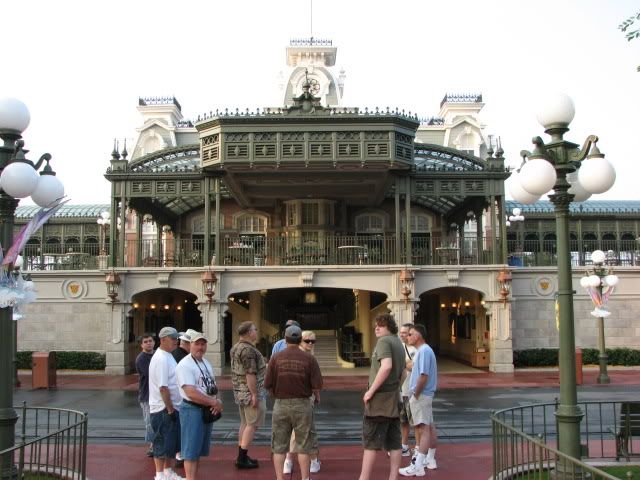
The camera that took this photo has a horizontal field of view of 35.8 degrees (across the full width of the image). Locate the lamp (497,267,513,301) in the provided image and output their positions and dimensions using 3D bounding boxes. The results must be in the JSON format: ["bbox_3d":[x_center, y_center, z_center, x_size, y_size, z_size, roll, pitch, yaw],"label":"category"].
[{"bbox_3d":[7.123,1.728,37.730,0.602,1.132,0.598,-3,-2,32],"label":"lamp"}]

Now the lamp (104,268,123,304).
[{"bbox_3d":[-7.794,1.754,37.549,0.569,1.248,0.468,0,-8,2],"label":"lamp"}]

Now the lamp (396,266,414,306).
[{"bbox_3d":[3.321,1.733,37.208,0.519,1.355,0.308,-1,-8,5],"label":"lamp"}]

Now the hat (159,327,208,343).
[{"bbox_3d":[-3.075,2.127,22.201,0.699,0.236,0.502,6,-10,-6],"label":"hat"}]

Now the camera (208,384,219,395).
[{"bbox_3d":[-2.340,3.332,22.075,0.177,0.239,0.251,2,-11,5],"label":"camera"}]

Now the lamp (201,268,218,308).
[{"bbox_3d":[-4.066,1.728,37.055,0.556,1.371,0.374,0,-8,-2],"label":"lamp"}]

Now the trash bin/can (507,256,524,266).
[{"bbox_3d":[7.925,0.888,39.704,0.625,0.616,0.357,-3,-22,18],"label":"trash bin/can"}]
